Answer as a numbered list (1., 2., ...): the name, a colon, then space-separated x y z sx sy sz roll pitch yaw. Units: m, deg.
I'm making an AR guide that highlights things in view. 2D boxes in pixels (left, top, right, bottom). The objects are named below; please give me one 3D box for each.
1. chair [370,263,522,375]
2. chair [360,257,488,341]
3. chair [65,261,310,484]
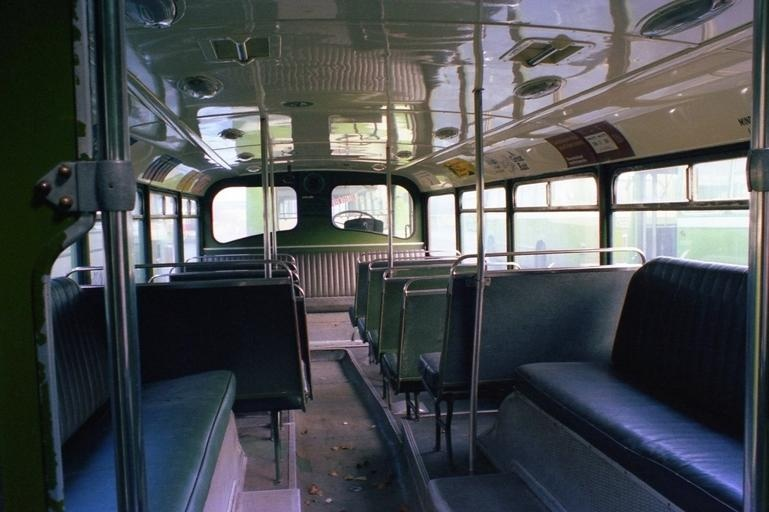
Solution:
1. chair: 0.632 0.600 5.969 1.383 1.244 0.972 -1 4 -23
2. chair: 0.199 0.450 6.642 1.053 0.672 1.011 -1 5 -16
3. chair: -1.530 0.762 5.319 1.711 1.513 1.682 -1 3 -11
